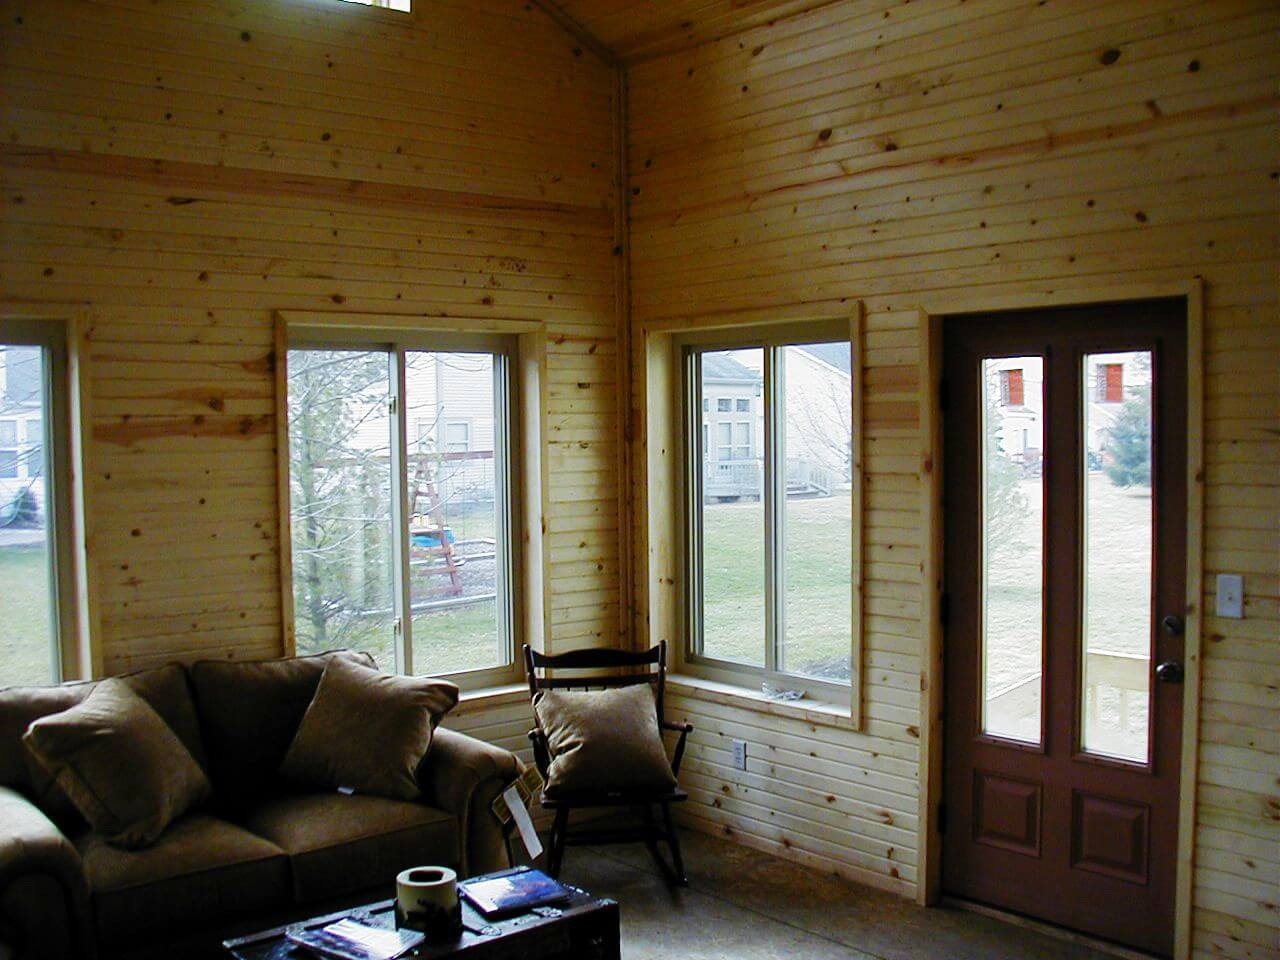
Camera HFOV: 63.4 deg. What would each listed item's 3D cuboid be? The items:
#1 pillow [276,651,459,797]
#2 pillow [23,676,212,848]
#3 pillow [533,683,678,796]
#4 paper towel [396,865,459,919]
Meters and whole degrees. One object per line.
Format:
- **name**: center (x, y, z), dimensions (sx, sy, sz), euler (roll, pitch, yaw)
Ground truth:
- **pillow**: center (-1.191, 1.109, 4.582), dimensions (0.811, 0.497, 0.180), euler (12, -29, 12)
- **pillow**: center (-1.963, 1.090, 3.994), dimensions (0.200, 0.641, 0.653), euler (-51, -5, 22)
- **pillow**: center (-0.203, 1.185, 4.992), dimensions (0.801, 0.562, 0.222), euler (17, -50, -30)
- **paper towel**: center (-0.719, 1.378, 3.517), dimensions (0.230, 0.079, 0.174), euler (0, 3, -12)
